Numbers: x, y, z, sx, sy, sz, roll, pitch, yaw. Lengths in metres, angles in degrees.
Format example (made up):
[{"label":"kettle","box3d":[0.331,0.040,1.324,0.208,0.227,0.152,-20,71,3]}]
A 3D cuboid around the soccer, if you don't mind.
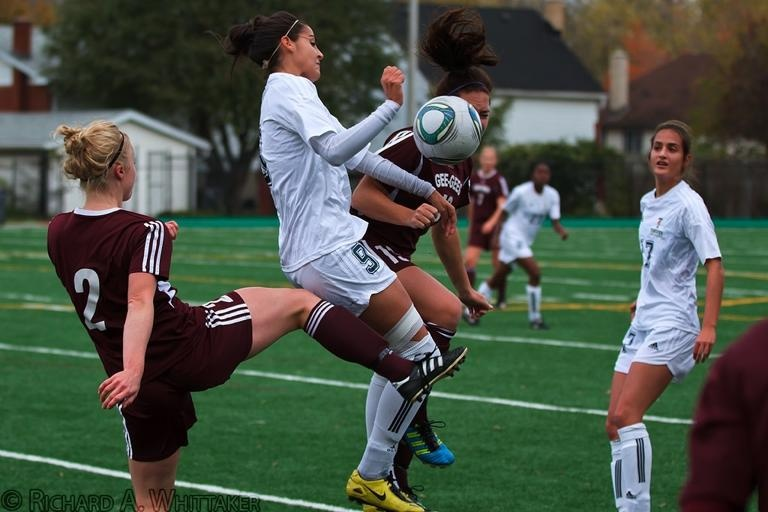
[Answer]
[{"label":"soccer","box3d":[0.424,-0.823,5.630,0.412,0.428,0.421,1,-13,6]}]
